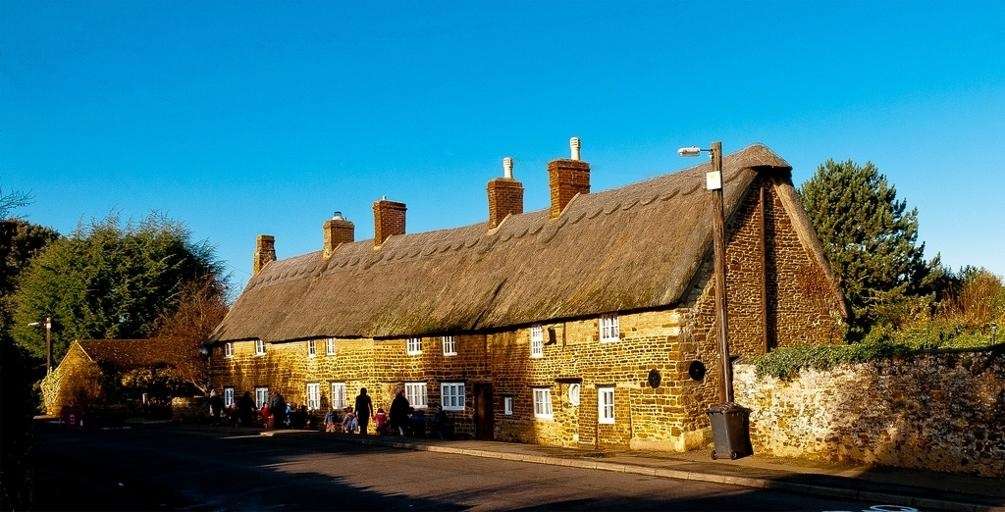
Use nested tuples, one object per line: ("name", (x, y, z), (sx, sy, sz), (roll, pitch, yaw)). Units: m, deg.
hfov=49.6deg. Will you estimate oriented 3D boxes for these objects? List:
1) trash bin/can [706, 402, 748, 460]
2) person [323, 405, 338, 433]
("trash bin/can", (11.404, 8.550, 53.551), (2.365, 2.716, 1.164), (-4, 1, -37))
("person", (-10.623, 10.055, 67.007), (0.895, 1.228, 1.223), (-3, 1, -9))
